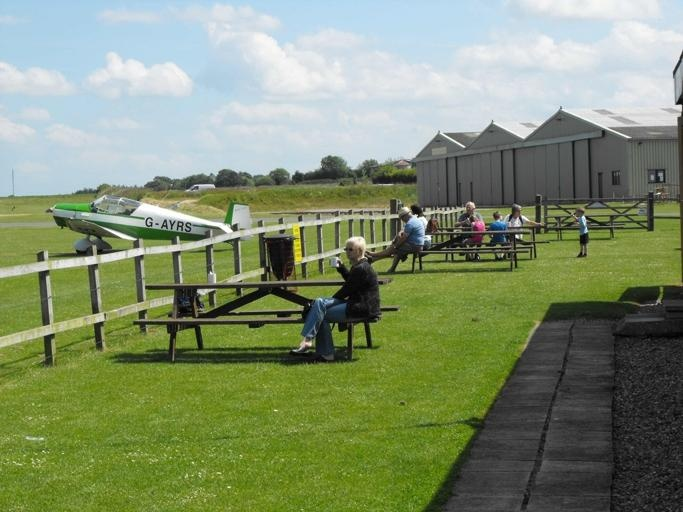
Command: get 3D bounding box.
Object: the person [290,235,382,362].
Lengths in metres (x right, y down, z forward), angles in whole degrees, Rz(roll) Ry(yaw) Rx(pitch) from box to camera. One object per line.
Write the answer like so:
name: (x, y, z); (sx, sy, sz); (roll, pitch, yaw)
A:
person: (-0.033, 0.517, 10.494); (1.020, 1.412, 0.468); (-4, 13, -2)

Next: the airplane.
airplane: (-6.697, -1.054, 29.038); (5.859, 1.832, 4.848); (-6, 12, -14)

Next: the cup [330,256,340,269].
cup: (-0.070, 0.069, 10.257); (0.092, 0.115, 0.141); (0, -1, 12)

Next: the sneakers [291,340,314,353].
sneakers: (-0.475, 1.083, 10.714); (0.120, 0.137, 0.338); (1, -1, -41)
